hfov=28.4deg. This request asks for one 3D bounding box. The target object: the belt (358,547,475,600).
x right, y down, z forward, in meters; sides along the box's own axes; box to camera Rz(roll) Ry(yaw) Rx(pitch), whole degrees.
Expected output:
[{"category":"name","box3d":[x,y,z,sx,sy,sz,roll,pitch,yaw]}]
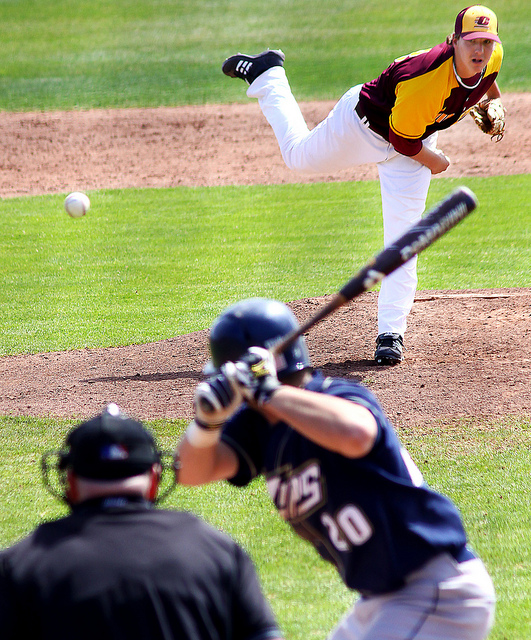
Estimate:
[{"category":"belt","box3d":[0.433,0.732,3.007,0.241,0.082,0.170,-27,6,1]}]

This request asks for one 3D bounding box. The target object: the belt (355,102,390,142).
[{"category":"belt","box3d":[0.623,-1.180,6.390,0.056,0.225,0.222,-42,26,20]}]

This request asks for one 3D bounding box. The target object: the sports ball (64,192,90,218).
[{"category":"sports ball","box3d":[-1.873,-1.108,10.459,0.199,0.296,0.491,1,20,-6]}]

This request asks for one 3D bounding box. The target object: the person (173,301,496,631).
[{"category":"person","box3d":[0.281,0.554,3.803,0.754,0.768,1.330,-16,66,-23]}]

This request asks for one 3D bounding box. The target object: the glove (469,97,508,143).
[{"category":"glove","box3d":[1.541,-1.361,7.096,0.092,0.235,0.321,27,26,11]}]

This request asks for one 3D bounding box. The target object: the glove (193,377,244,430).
[{"category":"glove","box3d":[-0.143,0.236,2.930,0.062,0.116,0.161,-10,18,-12]}]

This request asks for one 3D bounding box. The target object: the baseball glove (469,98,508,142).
[{"category":"baseball glove","box3d":[1.504,-1.373,7.043,0.225,0.280,0.113,-22,-8,-6]}]

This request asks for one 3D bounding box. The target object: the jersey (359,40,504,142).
[{"category":"jersey","box3d":[0.913,-1.303,6.044,0.758,0.277,0.616,-21,10,28]}]

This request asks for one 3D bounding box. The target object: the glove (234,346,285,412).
[{"category":"glove","box3d":[-0.009,0.172,2.915,0.128,0.179,0.067,-43,9,-26]}]
